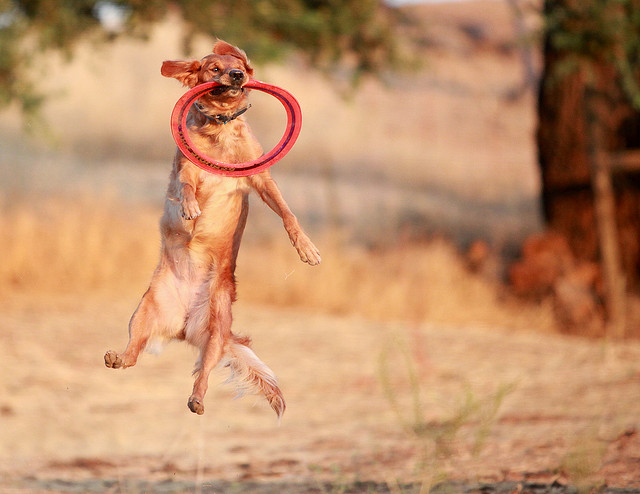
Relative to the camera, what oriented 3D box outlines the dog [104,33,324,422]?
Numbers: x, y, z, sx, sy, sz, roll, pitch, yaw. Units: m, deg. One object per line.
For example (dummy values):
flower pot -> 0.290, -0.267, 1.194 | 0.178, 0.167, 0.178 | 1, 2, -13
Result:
dog -> -1.062, -0.166, 11.825 | 1.534, 3.945, 1.615 | 0, 12, -18
